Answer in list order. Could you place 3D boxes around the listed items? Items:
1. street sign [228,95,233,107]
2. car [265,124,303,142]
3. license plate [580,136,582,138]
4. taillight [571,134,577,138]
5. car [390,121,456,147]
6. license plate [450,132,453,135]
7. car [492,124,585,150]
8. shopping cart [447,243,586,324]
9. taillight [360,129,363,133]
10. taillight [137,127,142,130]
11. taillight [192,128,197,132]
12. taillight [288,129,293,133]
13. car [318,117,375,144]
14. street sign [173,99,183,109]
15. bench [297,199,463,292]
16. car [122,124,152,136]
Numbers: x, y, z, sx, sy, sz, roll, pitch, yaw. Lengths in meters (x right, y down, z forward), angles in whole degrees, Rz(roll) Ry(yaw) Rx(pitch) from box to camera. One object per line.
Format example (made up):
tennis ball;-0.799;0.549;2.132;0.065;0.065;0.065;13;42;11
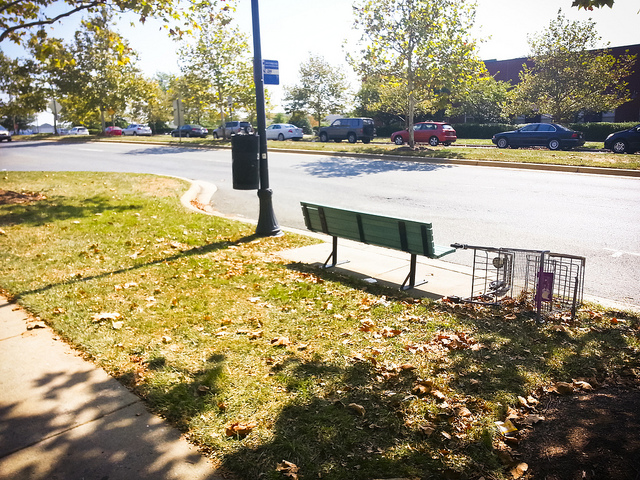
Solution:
street sign;-6.189;-9.429;36.933;0.270;0.679;0.896;-2;17;-11
car;-2.940;-8.369;42.095;2.728;1.095;1.316;5;17;14
license plate;13.677;-5.400;28.372;0.111;0.111;0.256;-8;-1;25
taillight;13.086;-5.357;27.825;0.185;0.124;0.098;-1;-2;33
car;6.218;-6.318;32.287;3.616;1.361;2.095;1;16;0
license plate;7.692;-6.275;31.856;0.224;0.132;0.050;-2;8;16
car;11.918;-5.607;29.622;0.726;1.481;4.725;-11;20;-35
shopping cart;2.659;0.394;7.245;1.608;0.944;1.330;11;19;31
taillight;2.656;-7.003;34.818;0.096;0.199;0.028;9;18;26
taillight;-20.565;-12.594;61.176;0.516;0.224;0.120;6;0;43
taillight;-11.279;-9.800;48.307;0.512;0.322;0.169;11;19;32
taillight;-2.328;-8.353;41.480;0.230;0.217;0.102;-3;-13;10
car;1.638;-7.346;36.142;3.852;1.514;1.860;11;19;34
street sign;-9.330;-8.837;35.283;0.520;0.613;0.902;-5;17;-19
bench;0.847;0.005;8.752;0.856;1.023;2.775;-10;16;-41
car;-20.856;-12.590;61.698;2.230;1.397;3.858;-9;19;-30
